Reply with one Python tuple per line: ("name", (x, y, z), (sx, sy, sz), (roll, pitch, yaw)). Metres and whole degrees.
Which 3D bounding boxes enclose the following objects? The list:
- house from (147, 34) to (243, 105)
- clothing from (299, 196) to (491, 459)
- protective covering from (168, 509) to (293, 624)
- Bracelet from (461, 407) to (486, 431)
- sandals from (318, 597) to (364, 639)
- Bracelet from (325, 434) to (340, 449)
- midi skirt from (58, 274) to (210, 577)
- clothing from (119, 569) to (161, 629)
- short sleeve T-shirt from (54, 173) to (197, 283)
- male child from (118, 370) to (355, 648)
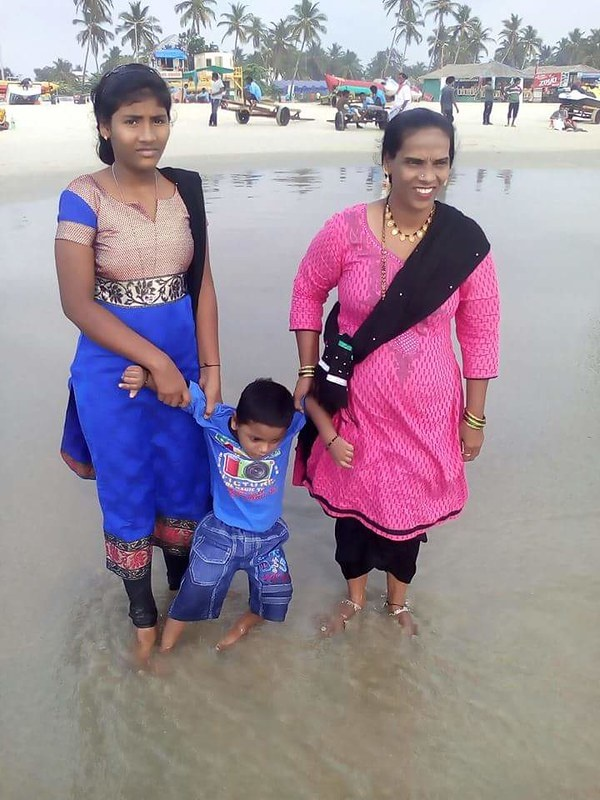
("house", (-4.814, -15.201, 32.729), (3.776, 1.067, 3.145), (8, 42, 26))
("clothing", (0.302, -0.217, 2.003), (0.408, 0.682, 0.197), (37, 29, 32))
("protective covering", (-0.223, 0.507, 2.092), (0.478, 0.394, 0.177), (2, 32, -18))
("Bracelet", (0.555, 0.061, 2.151), (0.063, 0.036, 0.066), (3, 13, -2))
("sandals", (0.147, 0.746, 2.374), (0.065, 0.082, 0.203), (28, 17, 28))
("Bracelet", (0.096, 0.123, 2.014), (0.038, 0.010, 0.034), (-37, 4, 6))
("midi skirt", (-0.468, -0.024, 2.037), (0.502, 1.062, 0.384), (-3, 7, -27))
("clothing", (-0.510, 0.619, 2.156), (0.093, 0.170, 0.079), (-4, -15, -28))
("short sleeve T-shirt", (-0.442, -0.459, 1.848), (0.401, 0.275, 0.213), (-11, 22, -32))
("male child", (-0.210, 0.349, 2.103), (0.954, 0.945, 0.276), (-4, 17, -26))
